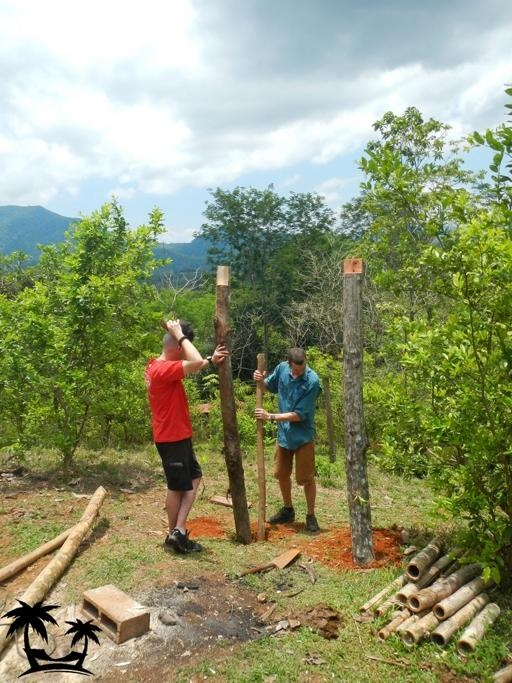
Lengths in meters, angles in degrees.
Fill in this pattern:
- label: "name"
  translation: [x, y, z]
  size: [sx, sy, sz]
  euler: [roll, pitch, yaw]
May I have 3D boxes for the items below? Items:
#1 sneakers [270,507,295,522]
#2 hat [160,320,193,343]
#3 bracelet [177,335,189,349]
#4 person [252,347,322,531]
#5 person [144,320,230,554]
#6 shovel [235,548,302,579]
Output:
- label: "sneakers"
  translation: [0.315, 2.158, 6.772]
  size: [0.313, 0.184, 0.154]
  euler: [3, -9, -3]
- label: "hat"
  translation: [-0.786, -0.100, 5.439]
  size: [0.280, 0.121, 0.210]
  euler: [6, -11, 15]
- label: "bracelet"
  translation: [-0.743, -0.002, 5.428]
  size: [0.116, 0.073, 0.102]
  euler: [-12, -31, -35]
- label: "person"
  translation: [0.423, 1.164, 6.397]
  size: [0.775, 1.560, 0.989]
  euler: [4, 2, 2]
- label: "person"
  translation: [-0.773, 0.947, 5.429]
  size: [0.723, 2.309, 0.611]
  euler: [4, 2, -11]
- label: "shovel"
  translation: [0.193, 2.135, 5.262]
  size: [0.185, 0.090, 0.681]
  euler: [-6, 0, 32]
